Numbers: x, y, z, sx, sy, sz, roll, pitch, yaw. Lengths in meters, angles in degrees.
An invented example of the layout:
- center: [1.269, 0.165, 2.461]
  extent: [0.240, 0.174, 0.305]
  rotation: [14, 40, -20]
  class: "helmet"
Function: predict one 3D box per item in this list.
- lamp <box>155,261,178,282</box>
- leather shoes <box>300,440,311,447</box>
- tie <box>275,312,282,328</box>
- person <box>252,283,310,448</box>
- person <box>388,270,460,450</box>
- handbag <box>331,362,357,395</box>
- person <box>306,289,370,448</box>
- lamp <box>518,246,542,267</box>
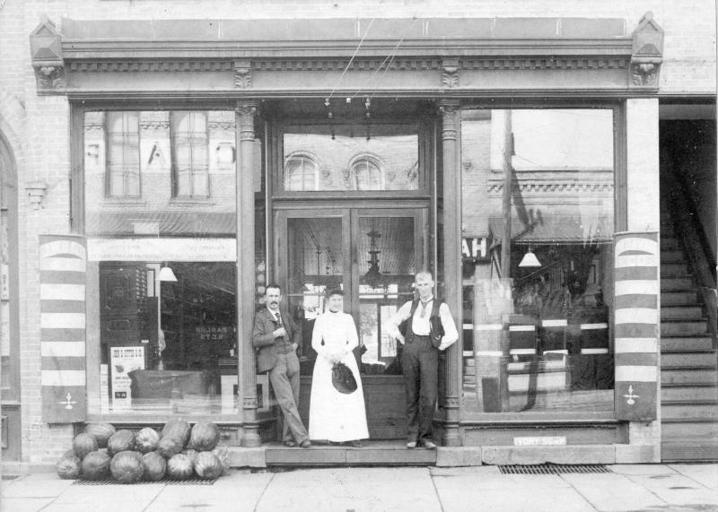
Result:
- center: [-2.828, 0.225, 22.424]
  extent: [0.311, 0.179, 0.292]
  rotation: [-3, 2, -16]
  class: "lamp"
- center: [-0.765, 2.681, 21.897]
  extent: [0.160, 0.104, 0.109]
  rotation: [-2, -2, -15]
  class: "leather shoes"
- center: [-1.157, 0.916, 22.150]
  extent: [0.171, 0.164, 0.049]
  rotation: [9, -18, -42]
  class: "tie"
- center: [-1.148, 1.580, 22.210]
  extent: [0.768, 2.330, 0.730]
  rotation: [-2, -2, -5]
  class: "person"
- center: [0.919, 1.495, 21.984]
  extent: [0.902, 2.527, 0.383]
  rotation: [-3, -2, 27]
  class: "person"
- center: [-0.175, 1.795, 22.039]
  extent: [0.350, 0.097, 0.413]
  rotation: [10, -41, -13]
  class: "handbag"
- center: [-0.345, 1.597, 22.113]
  extent: [0.829, 2.221, 0.314]
  rotation: [-2, -2, -2]
  class: "person"
- center: [2.510, 0.025, 22.452]
  extent: [0.287, 0.270, 0.293]
  rotation: [0, 3, 9]
  class: "lamp"
